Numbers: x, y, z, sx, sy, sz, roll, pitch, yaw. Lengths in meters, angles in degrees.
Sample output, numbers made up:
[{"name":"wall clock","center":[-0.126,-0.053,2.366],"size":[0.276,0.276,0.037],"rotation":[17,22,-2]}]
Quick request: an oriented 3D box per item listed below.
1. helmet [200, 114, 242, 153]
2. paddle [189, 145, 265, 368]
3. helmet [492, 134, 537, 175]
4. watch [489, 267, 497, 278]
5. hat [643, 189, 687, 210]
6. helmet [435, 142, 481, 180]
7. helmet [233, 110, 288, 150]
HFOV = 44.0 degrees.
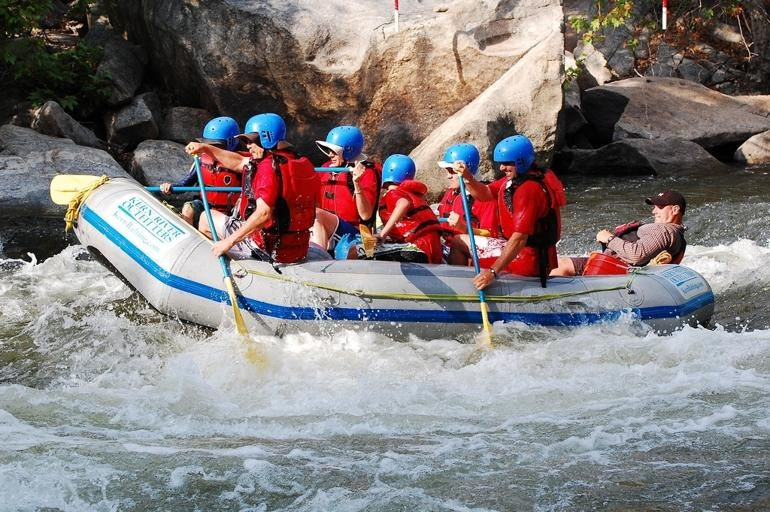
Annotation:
[{"name":"helmet","center":[-2.145,-1.649,12.639],"size":[0.633,0.329,0.440],"rotation":[-2,4,-38]},{"name":"paddle","center":[-1.907,0.086,11.696],"size":[0.382,3.065,0.242],"rotation":[-26,-7,-4]},{"name":"helmet","center":[1.627,-1.279,11.921],"size":[0.582,0.372,0.416],"rotation":[-4,8,-10]},{"name":"watch","center":[1.303,0.195,11.509],"size":[0.065,0.101,0.093],"rotation":[-44,-9,-37]},{"name":"hat","center":[3.736,-0.746,12.626],"size":[0.602,0.253,0.350],"rotation":[6,0,3]},{"name":"helmet","center":[1.013,-1.256,12.205],"size":[0.609,0.269,0.354],"rotation":[9,2,-17]},{"name":"helmet","center":[-1.481,-1.544,11.610],"size":[0.573,0.352,0.396],"rotation":[-14,17,-12]}]
